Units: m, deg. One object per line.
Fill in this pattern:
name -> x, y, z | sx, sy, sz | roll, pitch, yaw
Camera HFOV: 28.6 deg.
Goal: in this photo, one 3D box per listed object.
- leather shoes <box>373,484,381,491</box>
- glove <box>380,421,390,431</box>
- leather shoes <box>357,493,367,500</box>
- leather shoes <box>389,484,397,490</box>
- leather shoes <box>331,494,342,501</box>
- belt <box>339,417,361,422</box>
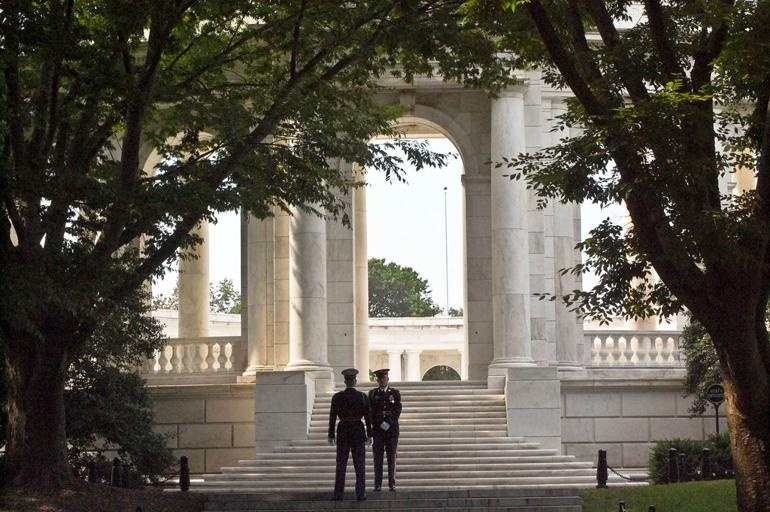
leather shoes -> -0.138, 6.711, 42.646 | 0.181, 0.178, 0.107 | 0, 2, -2
glove -> 0.080, 4.888, 42.367 | 0.255, 0.257, 0.047 | -1, -8, -5
leather shoes -> -0.583, 6.831, 41.971 | 0.256, 0.212, 0.233 | -1, -8, -6
leather shoes -> 0.290, 6.695, 42.701 | 0.179, 0.176, 0.130 | 1, 0, -2
leather shoes -> -1.289, 6.882, 42.222 | 0.293, 0.155, 0.293 | -2, 4, -12
belt -> -0.889, 4.656, 42.016 | 0.556, 0.128, 0.055 | -3, -8, 10
